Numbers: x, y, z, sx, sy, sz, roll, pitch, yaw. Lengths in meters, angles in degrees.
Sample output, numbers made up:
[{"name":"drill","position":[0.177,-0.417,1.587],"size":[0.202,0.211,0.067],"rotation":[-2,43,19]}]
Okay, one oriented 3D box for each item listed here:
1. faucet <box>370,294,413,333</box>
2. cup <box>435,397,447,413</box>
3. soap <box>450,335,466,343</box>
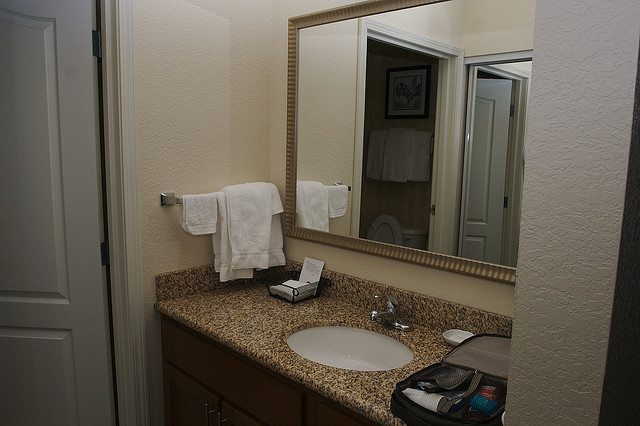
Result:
[{"name":"faucet","position":[0.310,0.412,1.880],"size":[0.195,0.122,0.110],"rotation":[2,-2,26]},{"name":"cup","position":[0.338,0.532,1.283],"size":[0.023,0.042,0.042],"rotation":[2,-18,20]},{"name":"soap","position":[0.509,0.466,1.702],"size":[0.030,0.006,0.021],"rotation":[9,18,44]}]
